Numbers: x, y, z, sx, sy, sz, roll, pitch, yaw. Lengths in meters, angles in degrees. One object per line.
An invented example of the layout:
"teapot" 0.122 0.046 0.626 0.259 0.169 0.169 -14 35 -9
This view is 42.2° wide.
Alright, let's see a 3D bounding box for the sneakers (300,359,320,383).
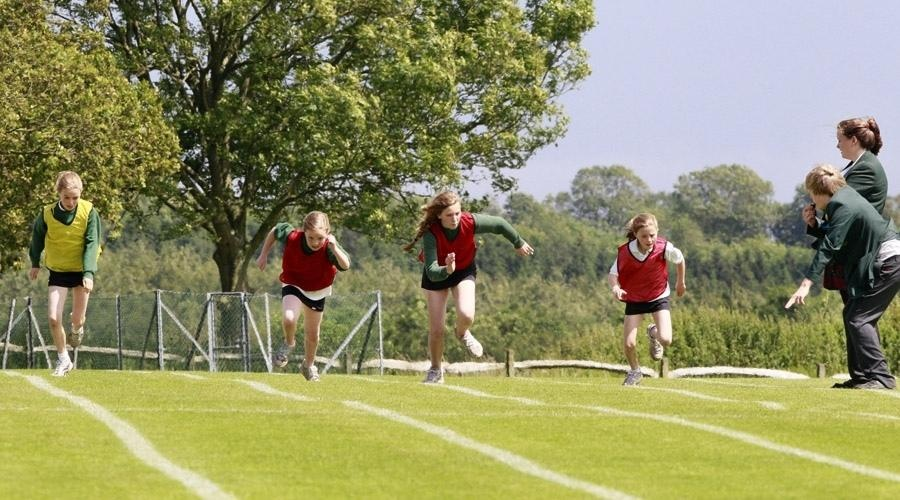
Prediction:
"sneakers" -2.912 2.568 24.852 0.241 0.576 0.241 -25 -25 -31
